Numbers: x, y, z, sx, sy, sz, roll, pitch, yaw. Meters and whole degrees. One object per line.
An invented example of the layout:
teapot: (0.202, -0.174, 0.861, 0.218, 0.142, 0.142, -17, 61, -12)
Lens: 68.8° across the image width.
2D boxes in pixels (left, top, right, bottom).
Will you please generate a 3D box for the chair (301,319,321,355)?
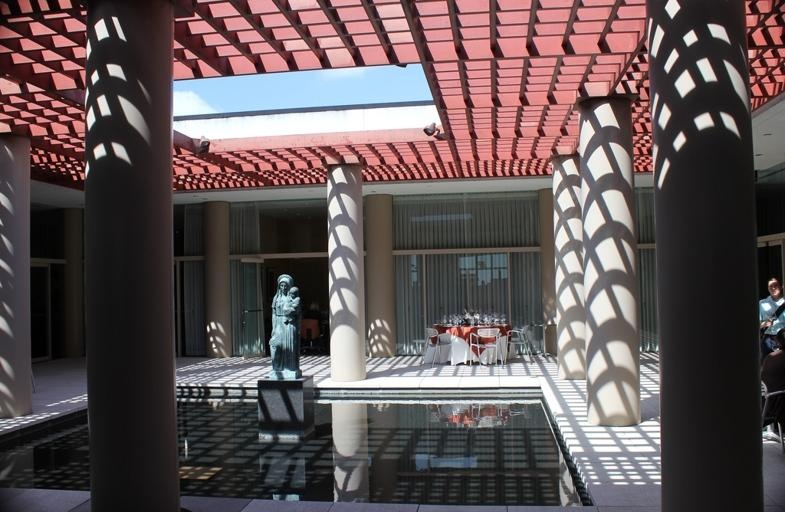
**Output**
chair: (-2.462, 2.363, 17.151, 0.630, 1.134, 0.684, -1, 6, -12)

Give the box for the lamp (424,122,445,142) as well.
lamp: (0.756, -2.285, 10.341, 0.418, 0.282, 0.349, -1, -1, -11)

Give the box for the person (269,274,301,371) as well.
person: (-1.812, 1.187, 9.713, 0.511, 1.354, 0.593, -1, -1, -11)

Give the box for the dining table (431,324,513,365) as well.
dining table: (1.787, 2.164, 13.851, 1.933, 0.883, 0.937, -2, -1, 10)

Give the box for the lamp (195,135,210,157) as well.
lamp: (-3.619, -2.139, 11.105, 0.252, 0.317, 0.115, 5, 1, 11)
